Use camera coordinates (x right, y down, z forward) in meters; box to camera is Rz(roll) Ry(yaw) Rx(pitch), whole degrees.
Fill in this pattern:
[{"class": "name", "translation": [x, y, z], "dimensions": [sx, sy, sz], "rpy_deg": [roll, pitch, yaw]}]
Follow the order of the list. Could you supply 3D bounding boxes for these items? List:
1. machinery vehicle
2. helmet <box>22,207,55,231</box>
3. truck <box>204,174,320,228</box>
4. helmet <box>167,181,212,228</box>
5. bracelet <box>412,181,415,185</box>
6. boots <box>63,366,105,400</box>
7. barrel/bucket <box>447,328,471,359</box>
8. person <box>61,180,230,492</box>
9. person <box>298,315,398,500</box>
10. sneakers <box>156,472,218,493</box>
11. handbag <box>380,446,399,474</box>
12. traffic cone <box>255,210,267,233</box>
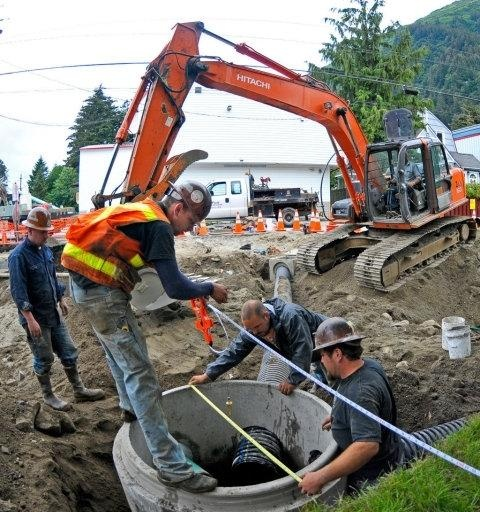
[{"class": "machinery vehicle", "translation": [1.358, -1.674, 9.641], "dimensions": [7.919, 4.409, 2.772], "rpy_deg": [-8, 12, -37]}, {"class": "helmet", "translation": [-1.729, -0.324, 4.503], "dimensions": [0.226, 0.226, 0.296], "rpy_deg": [-1, -2, -22]}, {"class": "truck", "translation": [0.668, -2.072, 19.396], "dimensions": [4.281, 1.900, 1.512], "rpy_deg": [-1, 9, -2]}, {"class": "helmet", "translation": [-0.329, -0.385, 3.394], "dimensions": [0.295, 0.259, 0.224], "rpy_deg": [3, 16, -7]}, {"class": "bracelet", "translation": [2.814, -1.179, 8.544], "dimensions": [0.034, 0.048, 0.014], "rpy_deg": [9, 9, -15]}, {"class": "boots", "translation": [-1.438, 1.181, 4.948], "dimensions": [0.349, 0.351, 0.164], "rpy_deg": [-9, 6, -1]}, {"class": "barrel/bucket", "translation": [2.044, 0.806, 4.912], "dimensions": [0.259, 0.272, 0.264], "rpy_deg": [-4, -5, 0]}, {"class": "person", "translation": [-0.587, 0.456, 3.287], "dimensions": [0.983, 1.854, 0.477], "rpy_deg": [-2, -1, 18]}, {"class": "person", "translation": [0.629, 0.875, 3.033], "dimensions": [0.478, 1.029, 0.571], "rpy_deg": [-2, -1, 24]}, {"class": "sneakers", "translation": [-0.298, 1.280, 2.973], "dimensions": [0.323, 0.137, 0.122], "rpy_deg": [-1, 1, 3]}, {"class": "handbag", "translation": [0.880, 1.187, 3.074], "dimensions": [0.107, 0.109, 0.141], "rpy_deg": [-15, -19, 1]}, {"class": "traffic cone", "translation": [0.626, -1.048, 16.224], "dimensions": [0.606, 0.732, 0.559], "rpy_deg": [1, 3, 2]}]
